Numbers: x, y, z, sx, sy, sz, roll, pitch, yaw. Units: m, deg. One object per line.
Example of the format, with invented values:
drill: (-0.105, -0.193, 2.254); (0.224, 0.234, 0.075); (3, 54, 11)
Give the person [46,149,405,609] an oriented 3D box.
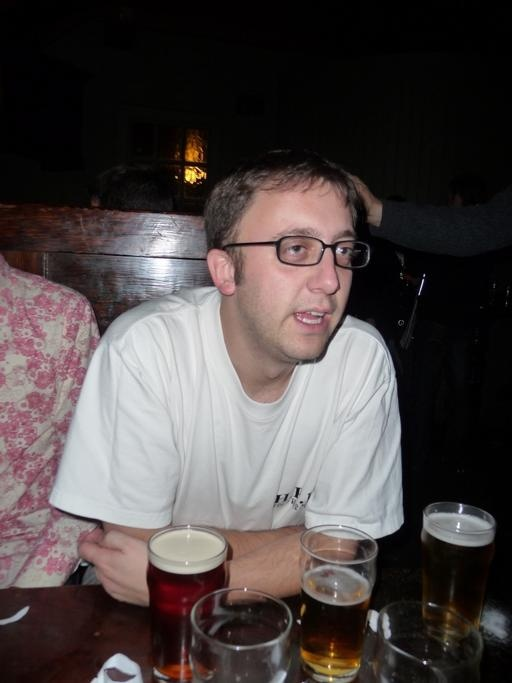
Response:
person: (-0.040, 0.098, 1.353); (0.828, 0.999, 0.652); (-1, 11, -26)
